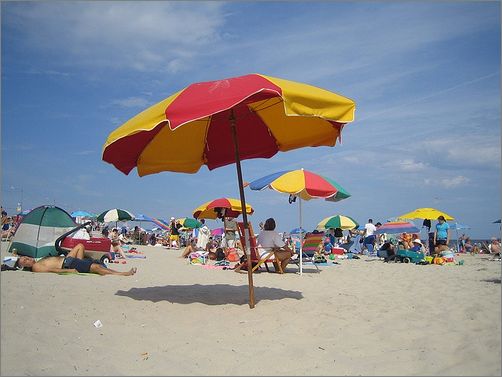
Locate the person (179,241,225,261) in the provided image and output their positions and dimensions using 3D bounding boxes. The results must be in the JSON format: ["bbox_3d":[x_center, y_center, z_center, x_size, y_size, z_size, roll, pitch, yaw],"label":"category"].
[{"bbox_3d":[-1.751,2.157,14.555,1.613,0.589,0.988,5,-19,7],"label":"person"}]

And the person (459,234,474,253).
[{"bbox_3d":[13.477,3.543,24.382,0.637,1.227,2.358,-1,-11,29],"label":"person"}]

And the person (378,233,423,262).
[{"bbox_3d":[5.785,2.323,14.611,1.434,0.761,1.170,-1,-2,-4],"label":"person"}]

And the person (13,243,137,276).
[{"bbox_3d":[-3.681,1.633,8.354,2.221,0.661,0.641,-2,-37,4],"label":"person"}]

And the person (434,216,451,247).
[{"bbox_3d":[6.777,1.525,13.740,0.439,1.099,0.780,0,-11,24],"label":"person"}]

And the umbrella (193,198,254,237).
[{"bbox_3d":[-0.925,0.977,13.000,1.935,0.884,1.932,-2,-20,-3],"label":"umbrella"}]
